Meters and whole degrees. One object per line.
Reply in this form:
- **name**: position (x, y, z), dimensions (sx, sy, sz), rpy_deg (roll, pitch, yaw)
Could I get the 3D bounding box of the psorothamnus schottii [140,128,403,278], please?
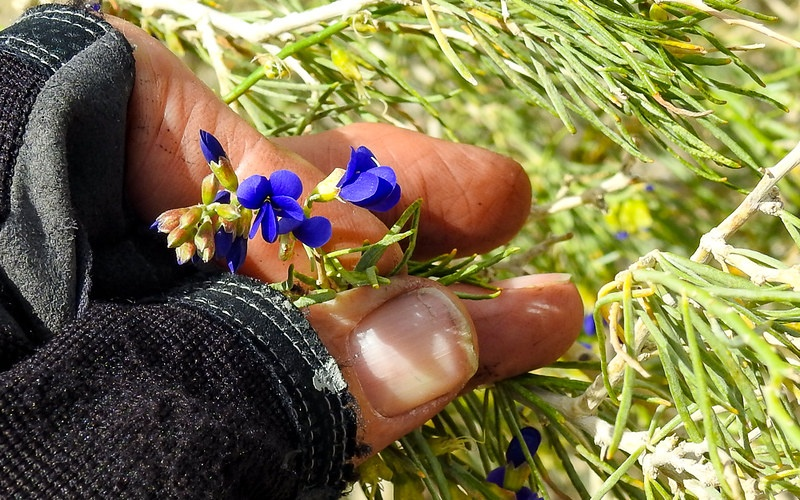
- **psorothamnus schottii**: position (-0.163, -0.086, 0.919), dimensions (0.259, 0.116, 0.171), rpy_deg (-18, -72, 0)
